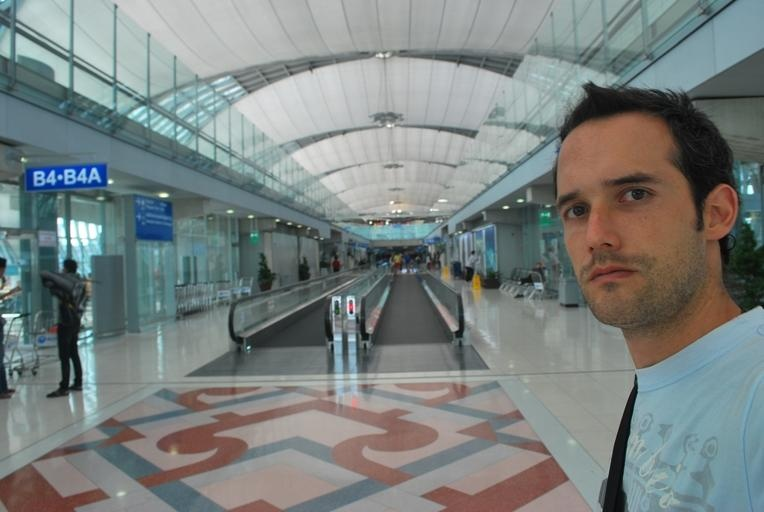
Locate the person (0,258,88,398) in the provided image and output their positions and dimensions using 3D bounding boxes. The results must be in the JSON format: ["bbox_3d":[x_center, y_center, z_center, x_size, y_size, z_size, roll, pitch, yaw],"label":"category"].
[{"bbox_3d":[-4.925,1.032,7.115,1.048,1.960,0.941,-6,6,-39],"label":"person"}]

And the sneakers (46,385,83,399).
[{"bbox_3d":[-4.613,1.967,6.952,0.406,0.155,0.136,1,-3,-15],"label":"sneakers"}]

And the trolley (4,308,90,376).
[{"bbox_3d":[-6.022,1.542,8.492,0.639,0.833,1.210,-1,3,-6],"label":"trolley"}]

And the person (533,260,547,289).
[{"bbox_3d":[5.738,0.656,17.161,0.422,0.874,2.039,-1,5,19],"label":"person"}]
